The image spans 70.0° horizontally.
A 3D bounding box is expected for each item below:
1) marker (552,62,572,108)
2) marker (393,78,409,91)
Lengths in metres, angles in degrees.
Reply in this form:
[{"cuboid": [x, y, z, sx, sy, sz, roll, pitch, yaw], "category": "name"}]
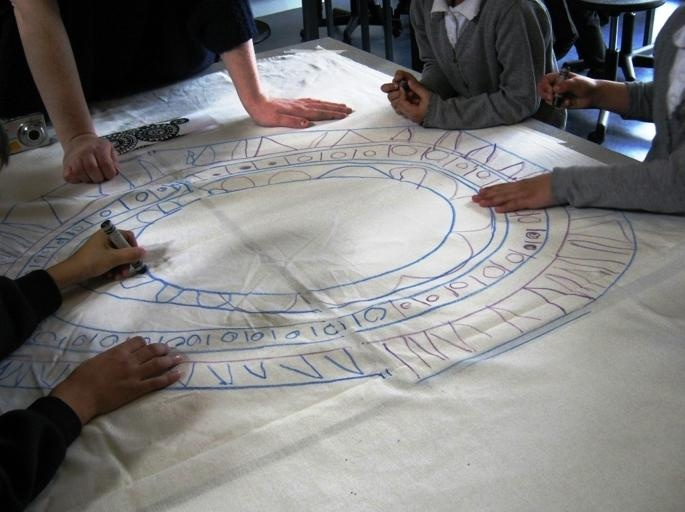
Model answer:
[{"cuboid": [0.551, -0.428, 1.237, 0.040, 0.115, 0.051, 8, 26, 11], "category": "marker"}, {"cuboid": [0.167, -0.494, 1.414, 0.038, 0.015, 0.044, -25, 58, -19], "category": "marker"}]
